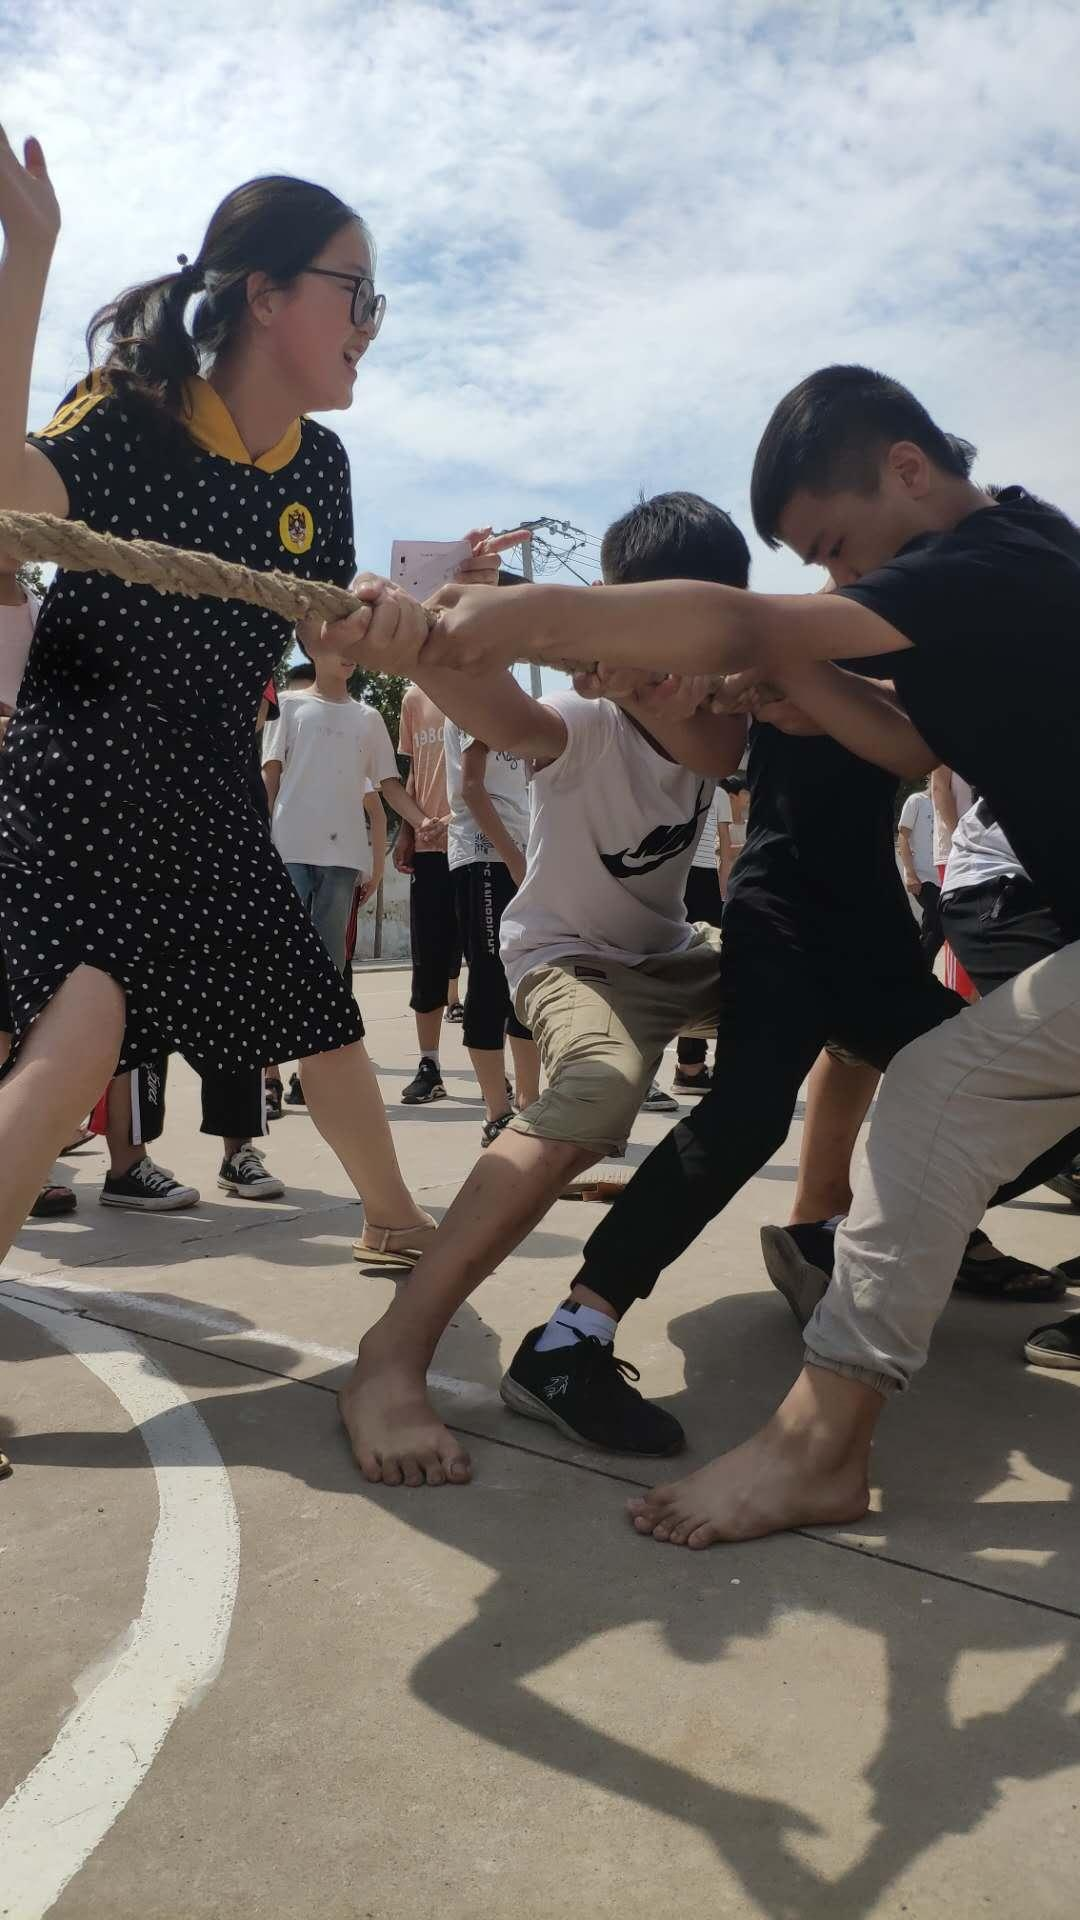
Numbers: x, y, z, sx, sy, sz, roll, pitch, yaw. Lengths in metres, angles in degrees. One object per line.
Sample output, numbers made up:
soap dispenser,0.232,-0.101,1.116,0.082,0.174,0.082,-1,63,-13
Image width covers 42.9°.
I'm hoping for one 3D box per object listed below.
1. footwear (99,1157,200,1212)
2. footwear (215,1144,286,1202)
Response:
footwear,-0.979,0.558,3.456,0.254,0.136,0.112,1,0,4
footwear,-0.763,0.565,3.634,0.086,0.124,0.263,-2,-8,-26
